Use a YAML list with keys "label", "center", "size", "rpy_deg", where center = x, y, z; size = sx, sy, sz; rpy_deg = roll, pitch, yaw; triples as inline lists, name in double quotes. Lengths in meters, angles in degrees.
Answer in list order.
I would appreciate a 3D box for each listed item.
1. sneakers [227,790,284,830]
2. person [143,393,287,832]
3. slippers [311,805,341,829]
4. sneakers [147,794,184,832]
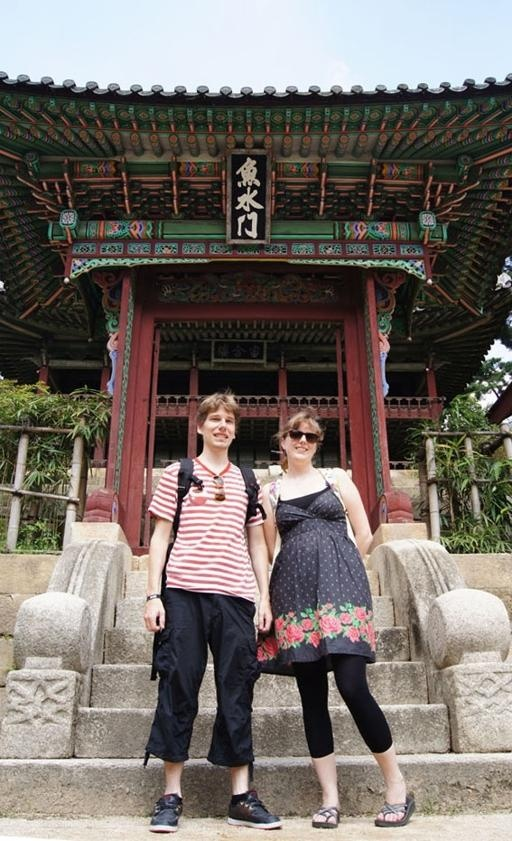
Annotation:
- label: "sneakers"
  center: [-0.013, 1.131, 1.674]
  size: [0.066, 0.103, 0.199]
  rpy_deg: [14, -22, -34]
- label: "person"
  center: [-0.157, 0.569, 1.922]
  size: [0.437, 1.444, 0.609]
  rpy_deg: [2, -9, -5]
- label: "slippers"
  center: [0.198, 1.152, 1.635]
  size: [0.073, 0.045, 0.081]
  rpy_deg: [1, -10, 4]
- label: "sneakers"
  center: [-0.250, 1.110, 1.578]
  size: [0.080, 0.096, 0.124]
  rpy_deg: [3, -10, -8]
